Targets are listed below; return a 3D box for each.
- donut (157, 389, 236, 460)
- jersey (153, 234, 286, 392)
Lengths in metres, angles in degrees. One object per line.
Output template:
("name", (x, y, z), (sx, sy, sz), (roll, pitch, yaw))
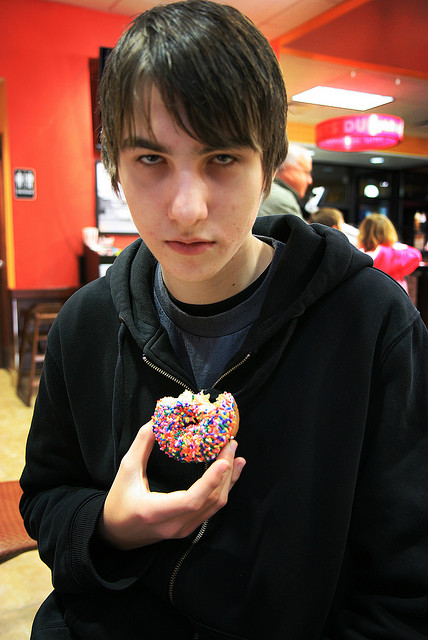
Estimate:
("donut", (-0.029, 0.161, 0.778), (0.115, 0.088, 0.073), (2, 11, 5))
("jersey", (0.031, -0.028, 1.041), (0.194, 0.270, 0.301), (13, 56, 8))
